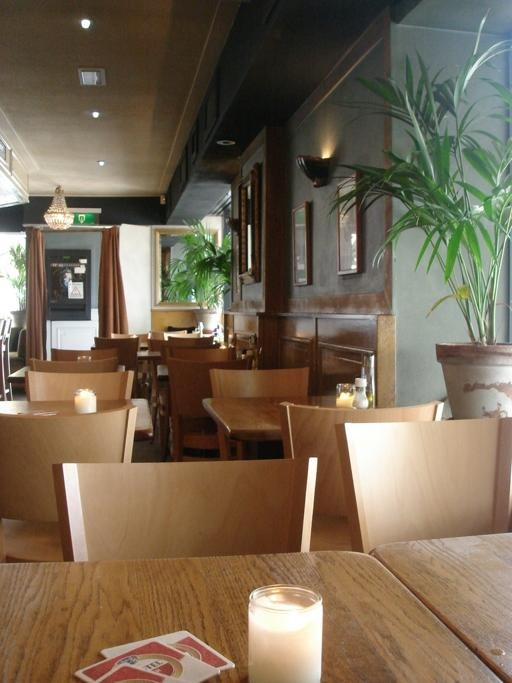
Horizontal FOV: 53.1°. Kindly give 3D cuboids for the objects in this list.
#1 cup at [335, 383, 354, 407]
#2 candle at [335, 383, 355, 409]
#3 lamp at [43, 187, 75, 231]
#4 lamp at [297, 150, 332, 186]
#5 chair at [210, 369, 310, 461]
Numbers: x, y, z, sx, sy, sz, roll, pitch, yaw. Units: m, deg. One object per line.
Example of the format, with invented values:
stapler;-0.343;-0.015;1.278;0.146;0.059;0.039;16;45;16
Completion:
cup;0.344;0.208;1.975;0.069;0.091;0.073;0;-5;0
candle;0.342;0.211;1.976;0.068;0.091;0.074;0;-4;5
lamp;-2.712;-1.876;7.036;0.319;0.554;0.620;0;1;-14
lamp;0.411;-1.179;3.578;0.187;0.275;0.210;-9;10;-9
chair;0.012;0.262;2.350;0.436;0.678;0.437;0;-1;-8
